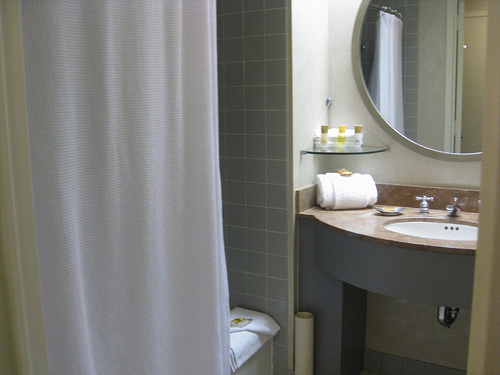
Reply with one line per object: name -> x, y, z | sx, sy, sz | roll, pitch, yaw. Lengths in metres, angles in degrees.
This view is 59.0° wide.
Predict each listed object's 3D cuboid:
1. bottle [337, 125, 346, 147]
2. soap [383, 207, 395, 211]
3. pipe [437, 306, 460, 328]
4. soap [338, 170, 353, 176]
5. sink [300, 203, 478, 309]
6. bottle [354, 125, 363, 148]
bottle -> 0.465, -0.253, 2.235 | 0.043, 0.104, 0.029 | 3, 6, 12
soap -> 0.668, 0.108, 2.134 | 0.029, 0.011, 0.027 | -8, 10, -41
pipe -> 0.911, 0.597, 2.033 | 0.094, 0.112, 0.059 | -3, 8, -34
soap -> 0.492, -0.072, 2.272 | 0.060, 0.024, 0.081 | 2, 7, -1
sink -> 0.615, 0.260, 1.996 | 0.720, 0.305, 0.494 | 6, 8, 29
bottle -> 0.546, -0.254, 2.231 | 0.039, 0.113, 0.042 | 1, 6, 0
